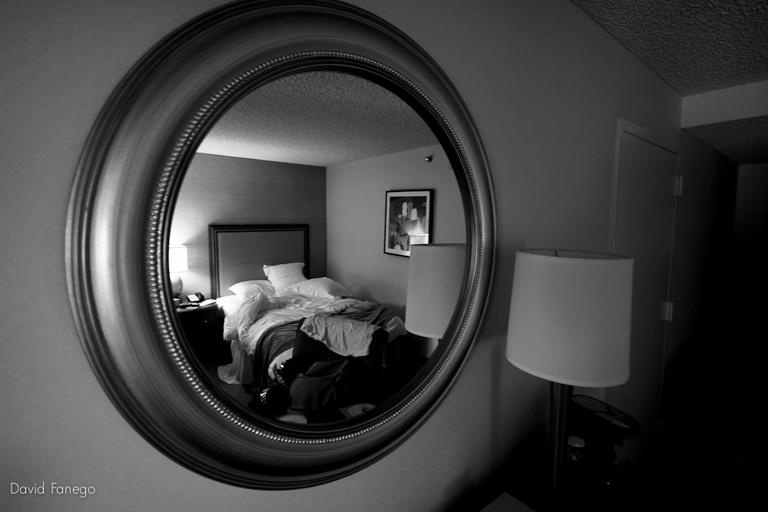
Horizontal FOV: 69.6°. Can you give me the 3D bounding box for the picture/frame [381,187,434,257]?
[{"bbox_3d":[0.067,-0.117,1.818,0.234,0.305,0.021,-1,1,-32],"label":"picture/frame"}]
